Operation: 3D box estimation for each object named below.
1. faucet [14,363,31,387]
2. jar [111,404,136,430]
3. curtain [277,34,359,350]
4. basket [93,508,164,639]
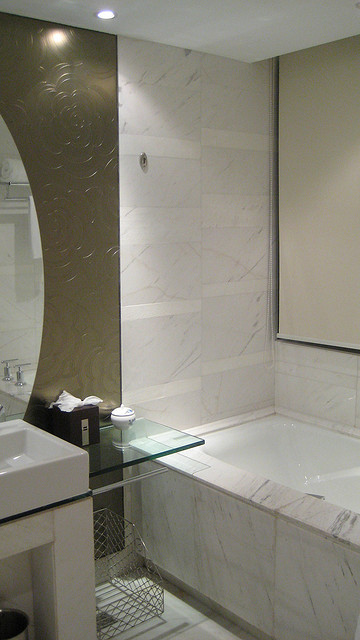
[{"bbox_3d":[-0.643,0.226,1.905,0.041,0.079,0.074,11,15,41],"label":"faucet"},{"bbox_3d":[-0.251,0.429,2.125,0.085,0.099,0.092,-2,2,0],"label":"jar"},{"bbox_3d":[0.781,-0.711,2.718,0.036,1.714,0.582,-6,8,-34],"label":"curtain"},{"bbox_3d":[-0.242,1.056,2.103,0.352,0.266,0.363,-4,10,-39],"label":"basket"}]
